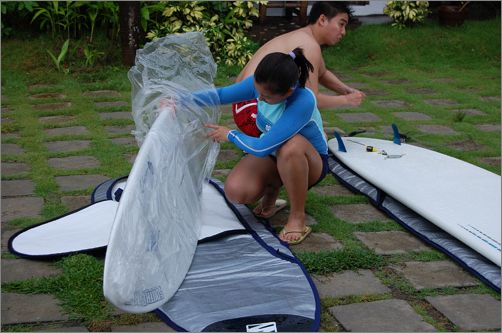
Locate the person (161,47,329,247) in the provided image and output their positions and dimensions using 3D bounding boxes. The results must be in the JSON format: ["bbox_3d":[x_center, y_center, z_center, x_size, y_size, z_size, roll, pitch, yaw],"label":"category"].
[{"bbox_3d":[-0.021,-0.207,3.303,1.059,1.250,0.746,8,19,21],"label":"person"}]

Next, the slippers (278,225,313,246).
[{"bbox_3d":[0.324,0.472,3.170,0.187,0.050,0.100,-15,39,-17],"label":"slippers"}]

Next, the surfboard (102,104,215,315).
[{"bbox_3d":[-0.522,0.239,2.615,0.288,0.942,1.030,4,22,6],"label":"surfboard"}]

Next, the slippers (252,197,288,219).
[{"bbox_3d":[0.140,0.313,3.458,0.225,0.063,0.115,-26,43,-22],"label":"slippers"}]
